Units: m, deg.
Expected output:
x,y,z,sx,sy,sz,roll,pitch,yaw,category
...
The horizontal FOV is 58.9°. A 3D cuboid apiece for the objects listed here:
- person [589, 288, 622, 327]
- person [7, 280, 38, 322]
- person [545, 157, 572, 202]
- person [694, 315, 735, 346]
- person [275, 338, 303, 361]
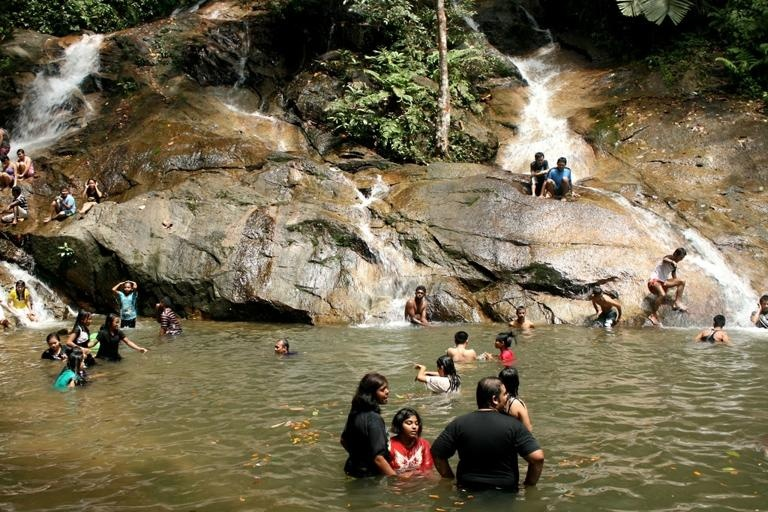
x,y,z,sx,sy,sz,roll,pitch,yaw,category
6.174,1.398,18.730,0.769,1.058,0.561,-2,-7,18,person
-10.623,1.289,19.855,0.736,1.121,0.407,4,-8,-35,person
5.408,-2.359,21.369,0.399,1.321,0.838,6,-9,-44,person
8.428,1.854,17.398,0.774,0.696,0.704,-3,-7,26,person
-2.372,2.275,16.530,0.427,0.396,0.762,2,5,-24,person
